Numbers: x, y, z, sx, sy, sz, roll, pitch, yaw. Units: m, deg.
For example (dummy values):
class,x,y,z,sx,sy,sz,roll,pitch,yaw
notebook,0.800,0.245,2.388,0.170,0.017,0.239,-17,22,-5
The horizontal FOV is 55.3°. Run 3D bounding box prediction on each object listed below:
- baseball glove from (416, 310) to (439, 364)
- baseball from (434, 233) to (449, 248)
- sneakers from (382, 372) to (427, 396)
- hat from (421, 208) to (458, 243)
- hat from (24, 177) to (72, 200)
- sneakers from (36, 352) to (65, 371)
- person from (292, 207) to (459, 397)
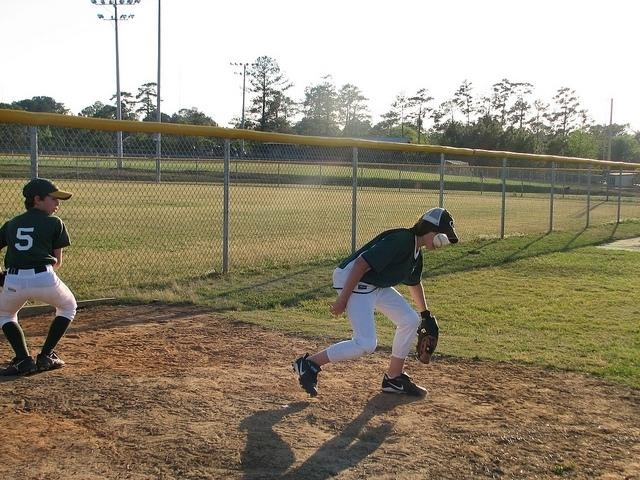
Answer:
class,x,y,z,sx,sy,sz,roll,pitch,yaw
baseball glove,0.980,0.910,5.713,0.276,0.437,0.204,7,2,-13
baseball,1.052,0.002,5.326,0.063,0.086,0.111,11,11,32
sneakers,0.750,1.336,5.681,0.485,0.203,0.165,5,-1,-1
hat,1.022,-0.119,5.281,0.332,0.301,0.216,2,11,-1
hat,-2.581,-0.463,5.690,0.339,0.140,0.210,2,10,-26
sneakers,-2.582,1.164,5.851,0.101,0.141,0.293,2,1,25
person,0.492,0.575,5.378,1.306,1.729,0.454,-2,12,-17
